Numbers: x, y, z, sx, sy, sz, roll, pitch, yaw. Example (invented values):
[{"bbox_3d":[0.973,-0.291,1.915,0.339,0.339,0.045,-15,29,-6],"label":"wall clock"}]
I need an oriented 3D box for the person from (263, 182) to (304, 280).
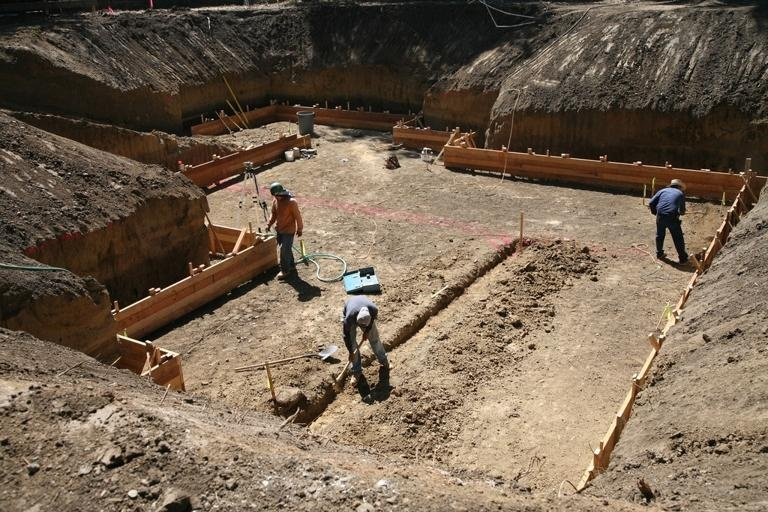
[{"bbox_3d":[-1.894,-0.502,12.679,0.658,1.744,0.896,-8,36,-8],"label":"person"}]

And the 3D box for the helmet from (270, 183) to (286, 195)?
[{"bbox_3d":[-2.019,-1.247,12.442,0.308,0.180,0.224,-9,-5,36],"label":"helmet"}]

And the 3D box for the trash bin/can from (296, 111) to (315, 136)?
[{"bbox_3d":[-2.367,-3.973,20.124,0.506,0.688,0.763,-6,33,-6],"label":"trash bin/can"}]

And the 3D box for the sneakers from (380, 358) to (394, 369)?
[{"bbox_3d":[0.027,1.697,10.601,0.260,0.205,0.108,-6,36,-1],"label":"sneakers"}]

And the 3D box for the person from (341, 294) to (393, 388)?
[{"bbox_3d":[-0.285,1.299,10.375,0.687,1.284,0.849,-4,35,-3],"label":"person"}]

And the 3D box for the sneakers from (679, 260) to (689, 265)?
[{"bbox_3d":[5.696,0.111,12.527,0.166,0.051,0.111,5,31,10],"label":"sneakers"}]

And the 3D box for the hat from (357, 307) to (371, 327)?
[{"bbox_3d":[-0.290,0.927,9.922,0.204,0.144,0.294,3,9,-2],"label":"hat"}]
